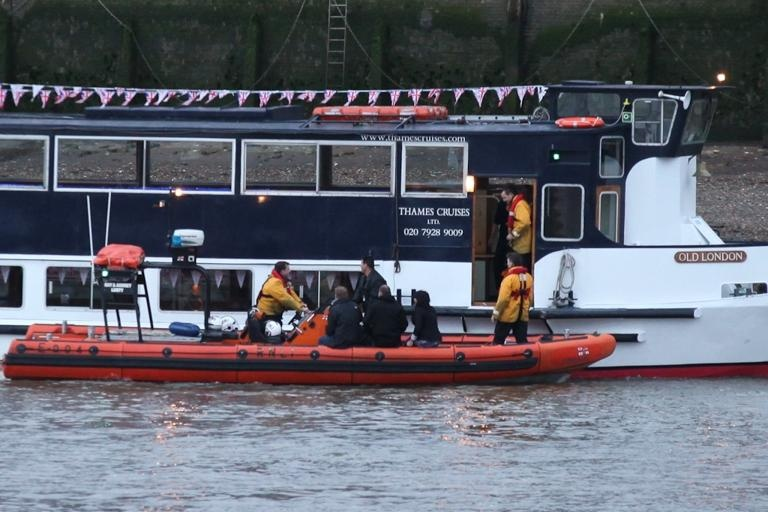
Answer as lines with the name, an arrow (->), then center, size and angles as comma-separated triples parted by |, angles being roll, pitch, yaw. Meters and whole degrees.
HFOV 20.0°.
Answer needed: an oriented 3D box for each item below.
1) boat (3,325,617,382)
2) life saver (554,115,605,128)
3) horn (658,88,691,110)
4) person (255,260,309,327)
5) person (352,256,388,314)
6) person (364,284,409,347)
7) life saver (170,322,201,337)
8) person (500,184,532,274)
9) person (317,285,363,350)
boat -> -2.005, 2.415, 51.038 | 13.630, 1.236, 0.385 | -1, 7, 1
life saver -> 4.789, -3.202, 51.555 | 0.750, 0.191, 0.436 | 0, 8, -2
horn -> 7.121, -3.808, 51.852 | 0.683, 0.410, 0.440 | 10, 14, 5
person -> -2.383, 0.941, 51.617 | 1.283, 1.703, 0.832 | 1, 0, 1
person -> -0.168, 0.651, 51.347 | 0.835, 1.389, 0.671 | 2, 1, -2
person -> 0.211, 1.368, 50.997 | 1.011, 1.498, 0.888 | 1, -1, 10
life saver -> -4.626, 1.726, 51.331 | 0.701, 0.286, 0.305 | 7, -2, 7
person -> 3.360, -0.730, 51.704 | 0.685, 1.979, 0.520 | 1, 1, 7
person -> -0.954, 1.416, 51.155 | 0.903, 1.401, 0.853 | 2, -2, -22
